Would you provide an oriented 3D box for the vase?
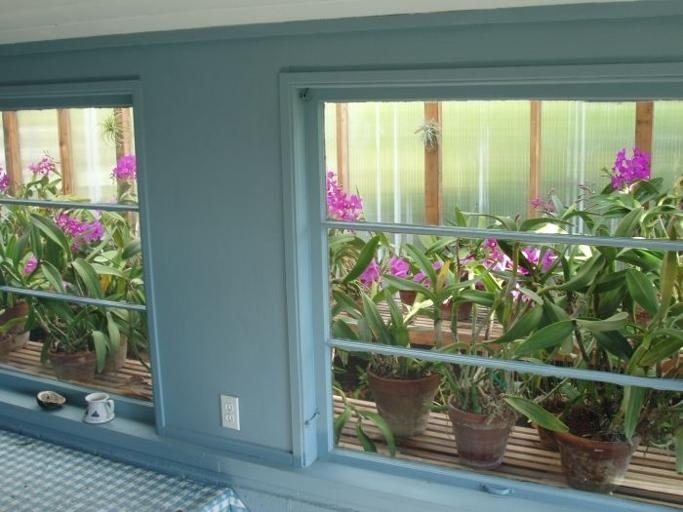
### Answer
[{"bbox_3d":[0.777,0.582,2.050,0.256,0.180,0.250,-1,7,-9],"label":"vase"}]

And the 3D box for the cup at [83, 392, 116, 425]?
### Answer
[{"bbox_3d":[-0.940,0.582,2.498,0.112,0.084,0.108,-2,-5,0],"label":"cup"}]

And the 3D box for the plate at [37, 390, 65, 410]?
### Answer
[{"bbox_3d":[-1.177,0.577,2.625,0.104,0.057,0.097,-3,7,-18],"label":"plate"}]
